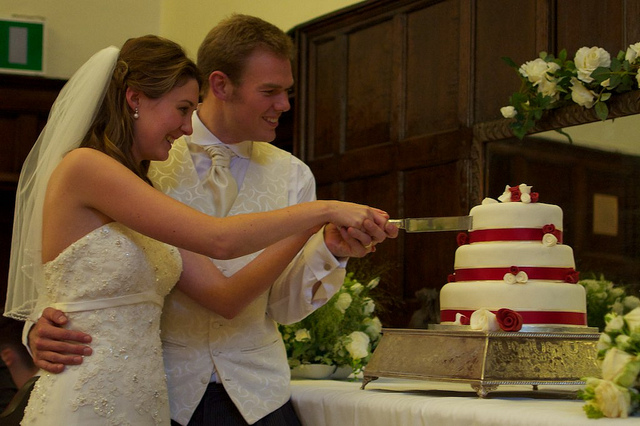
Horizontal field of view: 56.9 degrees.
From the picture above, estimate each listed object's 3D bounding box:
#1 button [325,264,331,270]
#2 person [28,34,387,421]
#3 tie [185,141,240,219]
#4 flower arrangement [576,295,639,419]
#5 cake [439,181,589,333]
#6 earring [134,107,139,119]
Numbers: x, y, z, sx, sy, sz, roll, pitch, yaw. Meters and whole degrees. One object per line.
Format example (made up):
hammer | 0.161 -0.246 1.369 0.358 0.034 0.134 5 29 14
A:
button | 0.034 0.234 2.594 0.025 0.026 0.006 3 -1 9
person | -0.591 0.041 2.426 1.041 1.592 0.540 3 -4 -24
tie | -0.487 -0.195 2.773 0.270 0.462 0.062 -4 -17 -29
flower arrangement | 1.048 0.537 2.149 0.208 0.383 0.195 -1 -4 24
cake | 0.886 0.206 2.932 0.628 0.691 0.652 3 -6 -37
earring | -0.751 -0.410 2.419 0.017 0.046 0.005 0 -4 12
